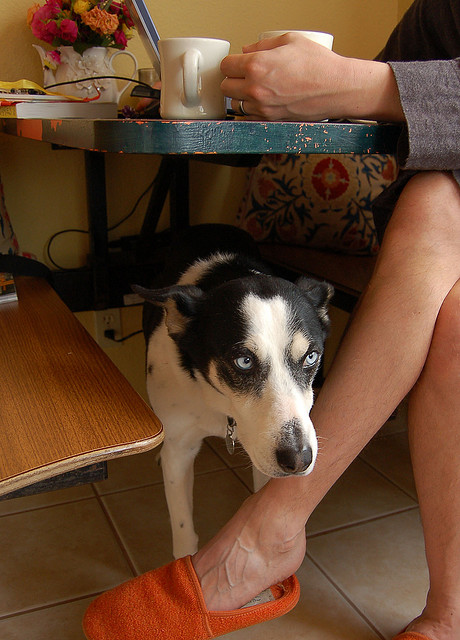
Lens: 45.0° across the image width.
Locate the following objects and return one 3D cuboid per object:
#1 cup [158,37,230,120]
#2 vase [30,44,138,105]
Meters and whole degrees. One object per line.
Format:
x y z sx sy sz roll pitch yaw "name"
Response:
-0.055 -0.326 0.755 0.101 0.102 0.151 2 25 -3 "cup"
-0.394 -0.653 1.530 0.282 0.178 0.171 -5 30 -13 "vase"
